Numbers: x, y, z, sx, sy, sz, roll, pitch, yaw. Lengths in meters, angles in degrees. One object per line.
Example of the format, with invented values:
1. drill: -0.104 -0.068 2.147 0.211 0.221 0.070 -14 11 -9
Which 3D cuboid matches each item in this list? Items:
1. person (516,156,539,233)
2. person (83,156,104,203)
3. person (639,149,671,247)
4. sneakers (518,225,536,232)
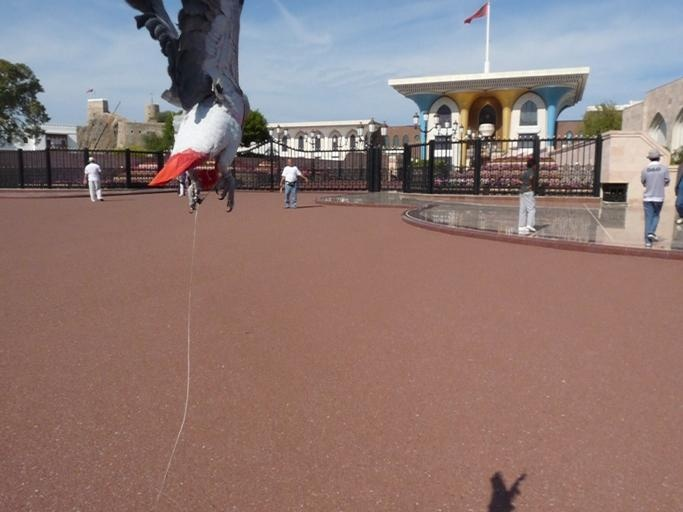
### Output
1. person: 3.815 -1.247 12.946 0.349 1.483 1.243 2 9 17
2. person: -9.602 -2.977 24.352 0.581 1.636 3.095 -3 11 -21
3. person: 5.682 -1.077 11.503 0.431 1.625 1.937 4 11 27
4. sneakers: 3.813 -0.554 13.032 0.386 0.173 0.178 3 -5 39
